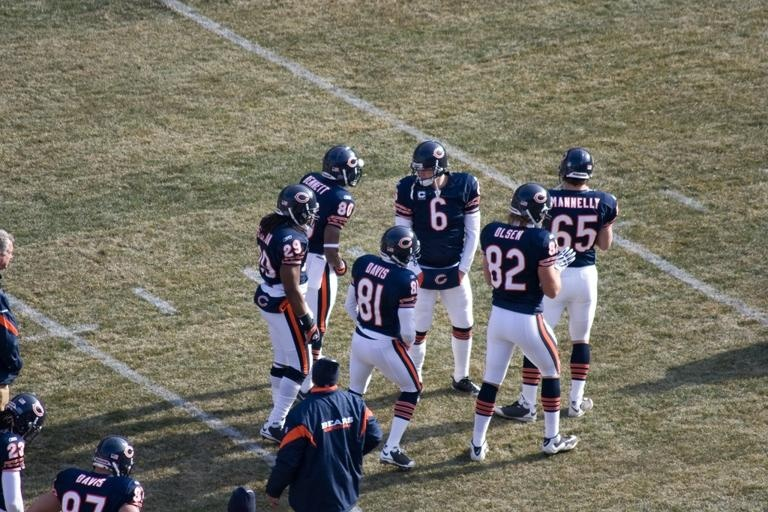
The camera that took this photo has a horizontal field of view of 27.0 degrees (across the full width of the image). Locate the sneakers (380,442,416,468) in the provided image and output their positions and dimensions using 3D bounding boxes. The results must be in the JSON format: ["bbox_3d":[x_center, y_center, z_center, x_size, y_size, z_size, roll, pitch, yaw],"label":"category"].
[{"bbox_3d":[0.160,2.688,21.331,0.561,0.256,0.211,16,32,-1],"label":"sneakers"}]

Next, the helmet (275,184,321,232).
[{"bbox_3d":[-1.157,-0.638,21.422,0.546,0.648,0.363,2,23,-4],"label":"helmet"}]

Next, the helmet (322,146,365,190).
[{"bbox_3d":[-0.575,-1.279,22.213,0.619,0.513,0.456,-8,23,-41],"label":"helmet"}]

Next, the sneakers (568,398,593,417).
[{"bbox_3d":[2.714,2.071,22.039,0.427,0.182,0.154,-26,31,-36],"label":"sneakers"}]

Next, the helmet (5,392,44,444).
[{"bbox_3d":[-4.592,2.018,20.530,0.471,0.579,0.508,28,66,9],"label":"helmet"}]

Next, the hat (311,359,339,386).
[{"bbox_3d":[-0.720,1.418,19.942,0.290,0.336,0.358,1,18,2],"label":"hat"}]

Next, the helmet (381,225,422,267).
[{"bbox_3d":[0.188,-0.139,21.188,0.654,0.527,0.471,0,10,-37],"label":"helmet"}]

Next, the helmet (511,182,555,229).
[{"bbox_3d":[1.950,-0.732,21.376,0.645,0.577,0.483,4,19,0],"label":"helmet"}]

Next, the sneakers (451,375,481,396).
[{"bbox_3d":[1.137,1.819,22.409,0.434,0.169,0.181,3,20,9],"label":"sneakers"}]
